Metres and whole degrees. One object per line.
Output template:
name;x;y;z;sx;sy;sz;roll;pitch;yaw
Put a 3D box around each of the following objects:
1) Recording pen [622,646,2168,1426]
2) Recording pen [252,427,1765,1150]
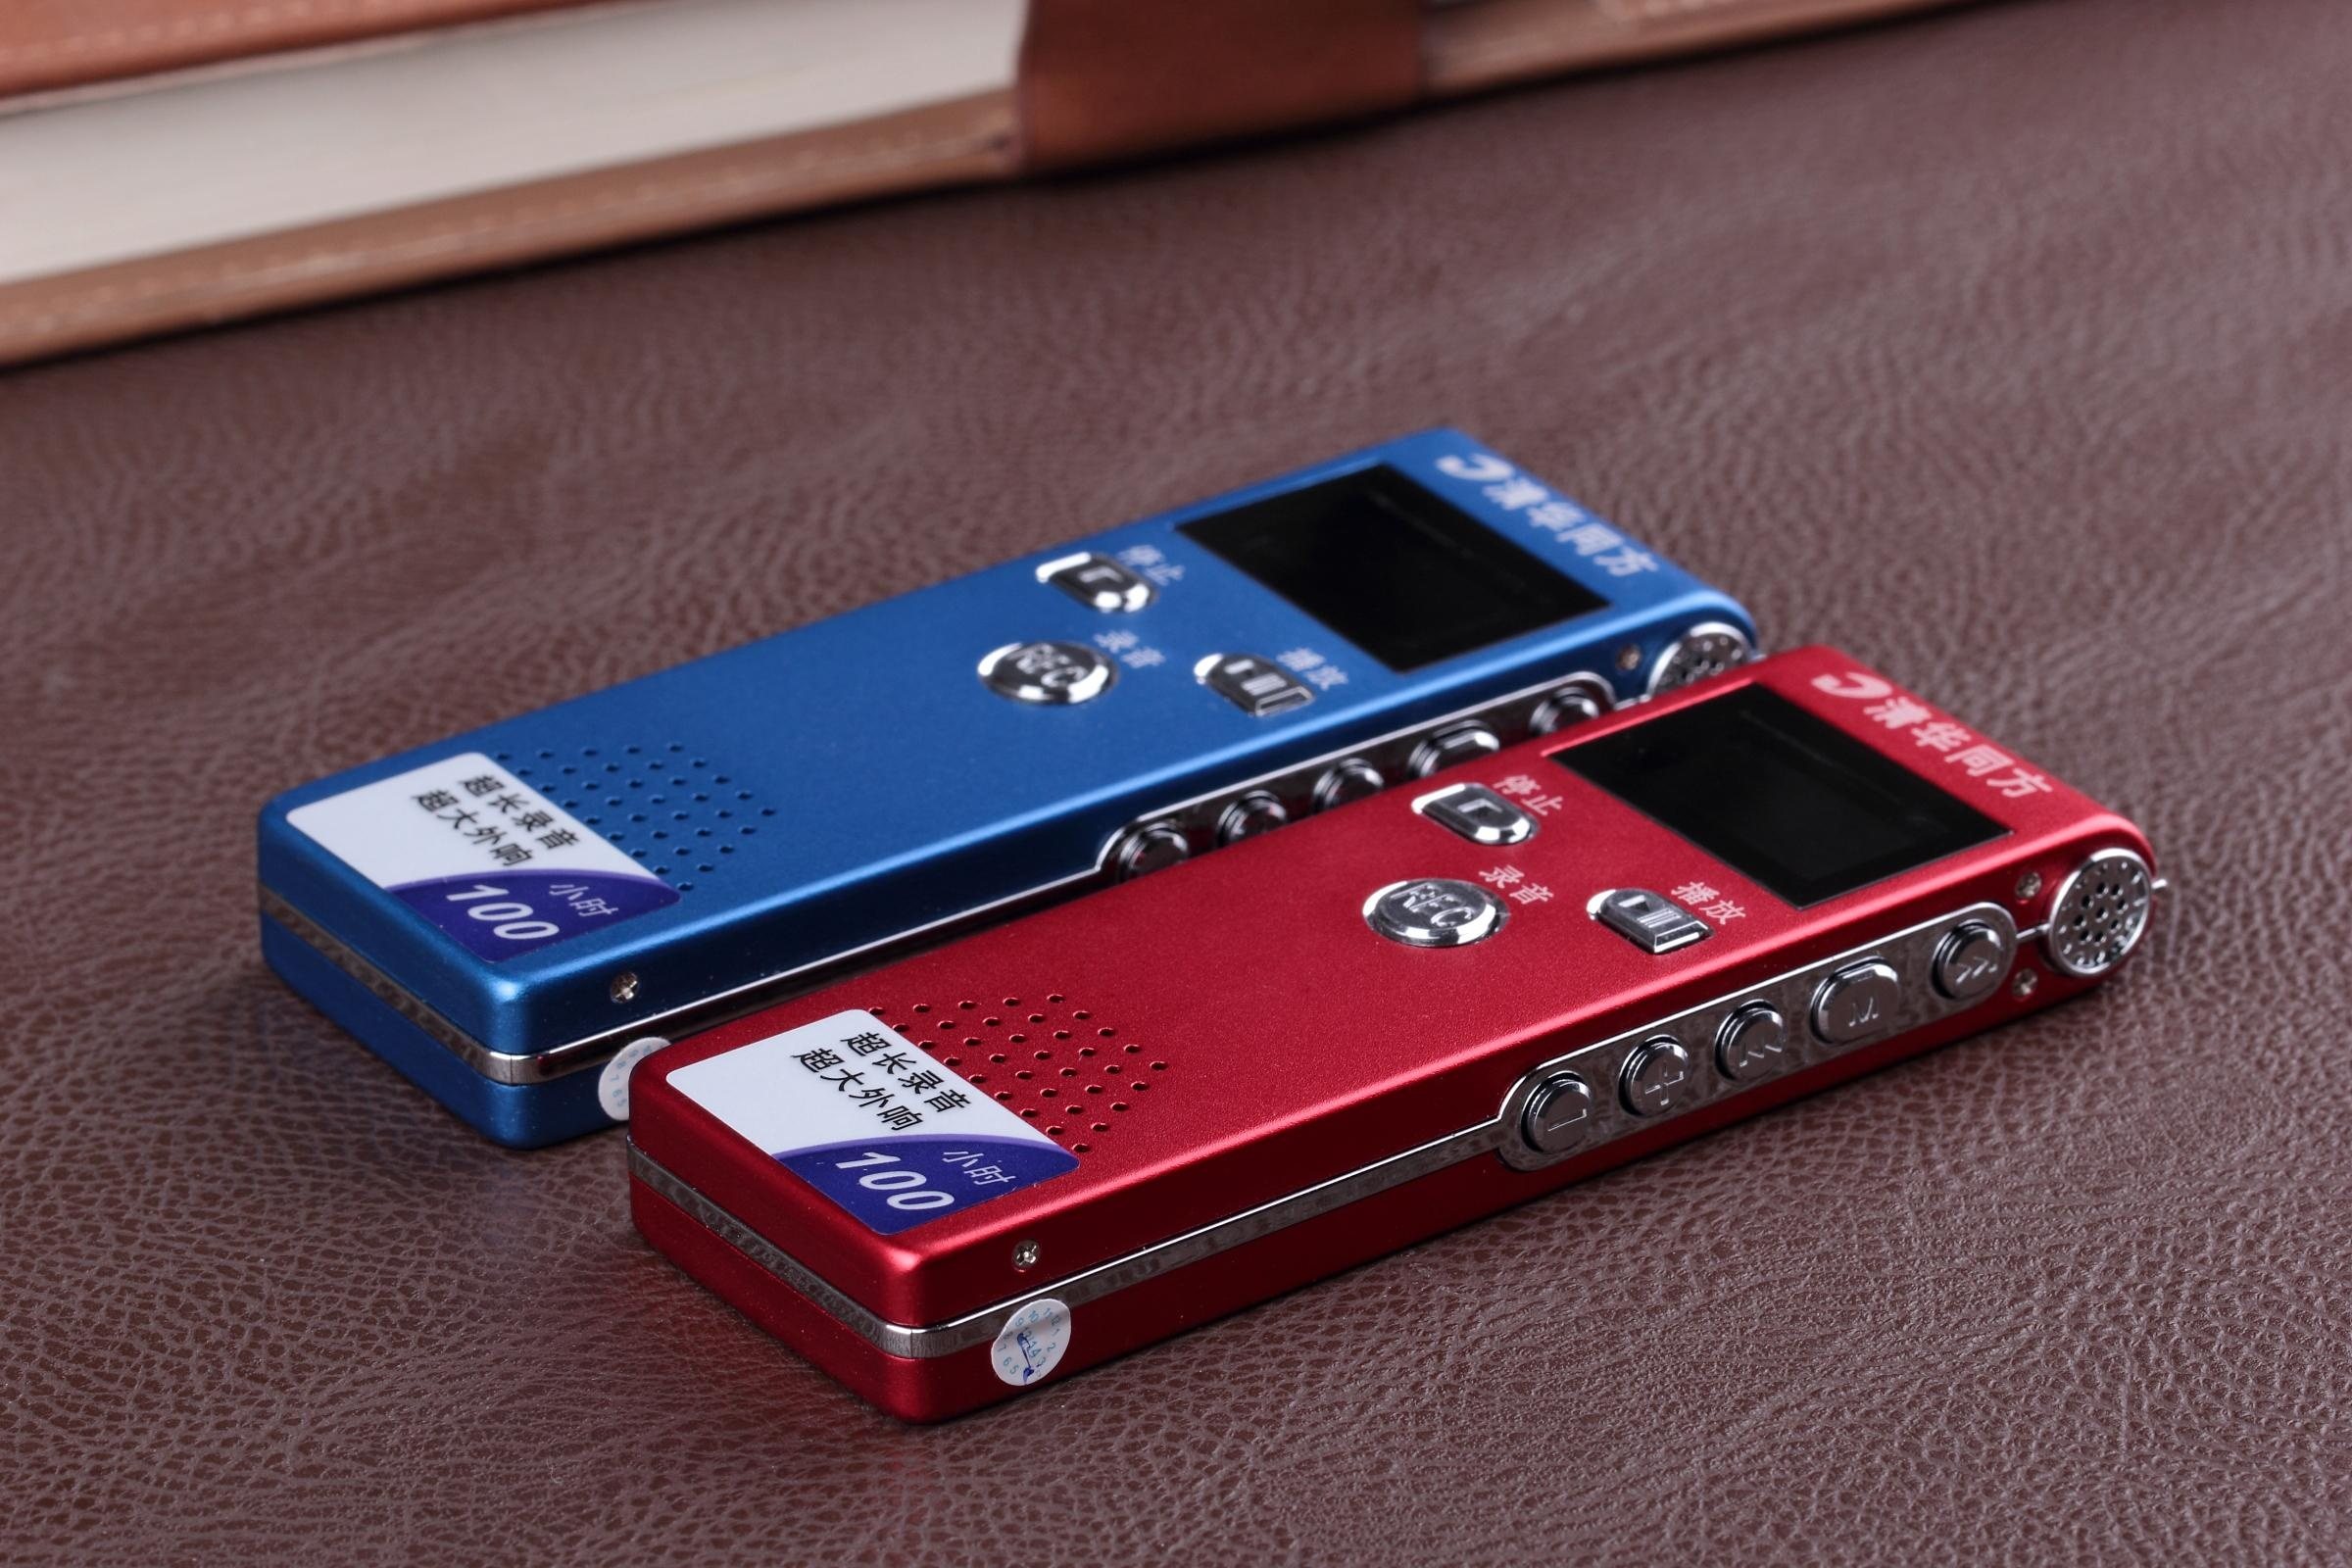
Recording pen;0.099;0.076;0.686;0.483;0.061;0.175;-14;30;-25
Recording pen;-0.009;-0.005;0.779;0.531;0.065;0.198;-14;30;-28
